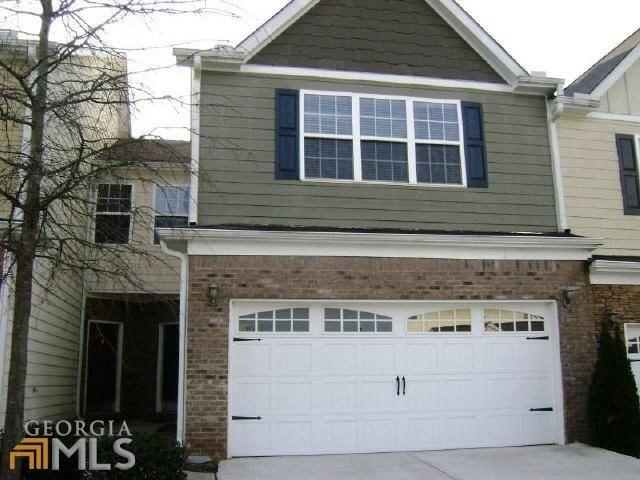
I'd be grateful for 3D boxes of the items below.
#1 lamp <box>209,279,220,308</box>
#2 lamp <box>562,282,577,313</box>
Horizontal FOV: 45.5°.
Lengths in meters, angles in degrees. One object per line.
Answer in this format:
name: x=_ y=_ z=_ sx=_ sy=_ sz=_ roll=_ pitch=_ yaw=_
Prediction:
lamp: x=-1.950 y=0.997 z=14.033 sx=0.207 sy=0.429 sz=0.212 roll=0 pitch=-13 yaw=-7
lamp: x=4.929 y=1.092 z=14.991 sx=0.326 sy=0.480 sz=0.213 roll=-2 pitch=-13 yaw=2
